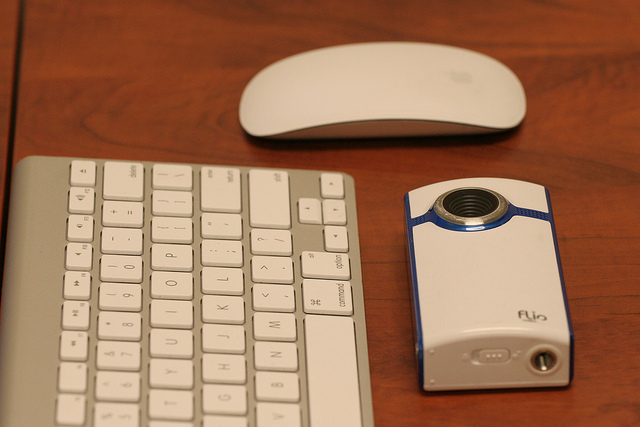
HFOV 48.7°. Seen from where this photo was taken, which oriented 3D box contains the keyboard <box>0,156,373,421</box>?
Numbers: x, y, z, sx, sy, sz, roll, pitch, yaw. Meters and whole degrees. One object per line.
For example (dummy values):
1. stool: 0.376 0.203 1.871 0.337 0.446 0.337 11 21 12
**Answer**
1. keyboard: -0.102 0.048 0.554 0.241 0.030 0.266 1 59 -7
